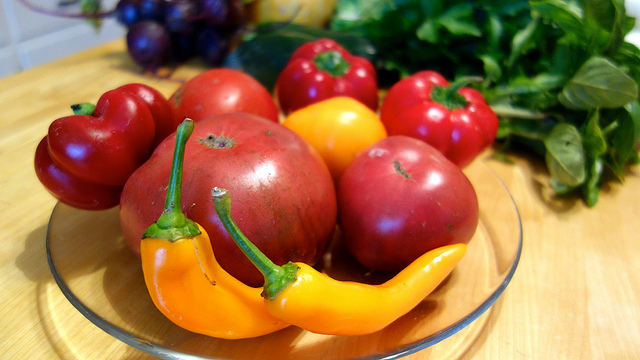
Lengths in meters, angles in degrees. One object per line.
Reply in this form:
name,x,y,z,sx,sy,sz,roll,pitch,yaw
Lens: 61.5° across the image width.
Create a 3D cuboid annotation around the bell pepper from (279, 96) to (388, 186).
bell pepper,0.055,-0.120,1.399,0.216,0.201,0.238,-29,38,-29
